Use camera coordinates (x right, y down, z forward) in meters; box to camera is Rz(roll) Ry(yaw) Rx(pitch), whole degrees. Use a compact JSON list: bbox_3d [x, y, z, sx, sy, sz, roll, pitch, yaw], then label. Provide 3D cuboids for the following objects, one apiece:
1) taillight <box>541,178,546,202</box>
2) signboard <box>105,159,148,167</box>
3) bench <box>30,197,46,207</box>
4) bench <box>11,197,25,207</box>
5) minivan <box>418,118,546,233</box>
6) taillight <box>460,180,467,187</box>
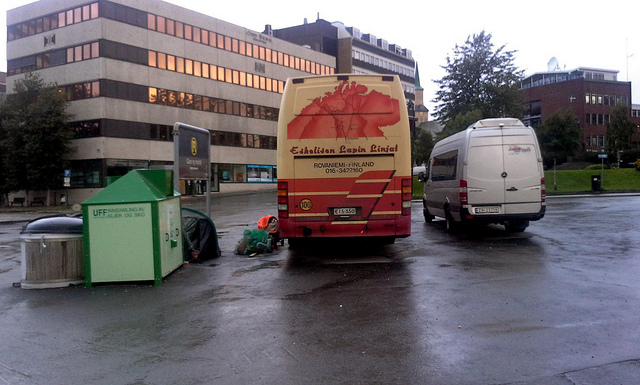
[{"bbox_3d":[7.289,-0.080,14.998,0.120,0.798,0.300,5,11,32],"label":"taillight"},{"bbox_3d":[-19.657,-2.973,46.344,0.377,1.088,4.496,5,11,34],"label":"signboard"},{"bbox_3d":[-27.633,0.897,44.903,1.095,0.926,1.625,-6,10,-29],"label":"bench"},{"bbox_3d":[-29.149,0.752,44.235,1.507,1.015,0.583,-1,5,-13],"label":"bench"},{"bbox_3d":[5.686,-0.487,16.282,2.701,3.645,7.678,0,1,1],"label":"minivan"},{"bbox_3d":[4.751,-0.304,15.195,0.026,0.250,0.220,7,-7,-43],"label":"taillight"}]
